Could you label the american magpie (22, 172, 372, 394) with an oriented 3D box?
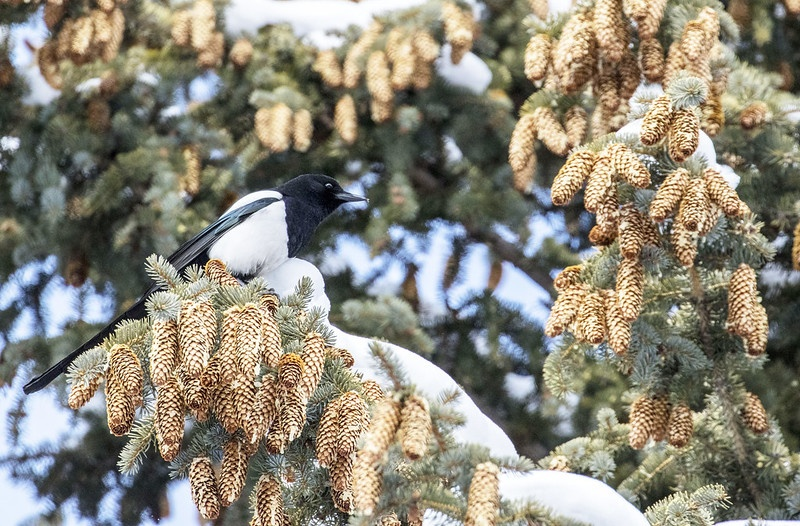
[{"bbox_3d":[-1.569,0.139,13.640,2.414,0.967,0.608,-19,-22,-14],"label":"american magpie"}]
